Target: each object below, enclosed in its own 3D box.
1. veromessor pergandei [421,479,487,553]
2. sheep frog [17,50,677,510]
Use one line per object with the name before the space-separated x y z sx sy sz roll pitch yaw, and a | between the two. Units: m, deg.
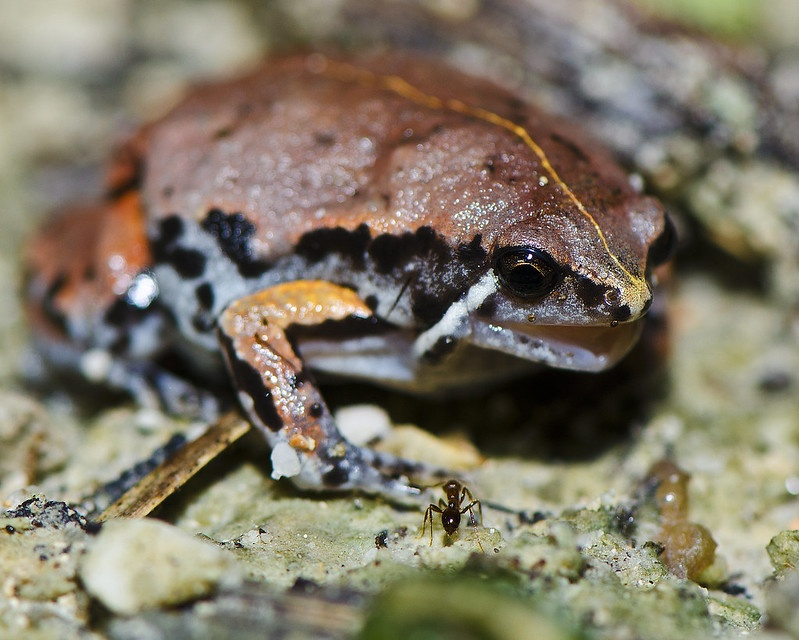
veromessor pergandei | 0.212 0.794 3.840 0.196 0.210 0.244 -5 24 -7
sheep frog | -0.156 -0.481 4.875 3.358 1.329 2.820 29 41 34
